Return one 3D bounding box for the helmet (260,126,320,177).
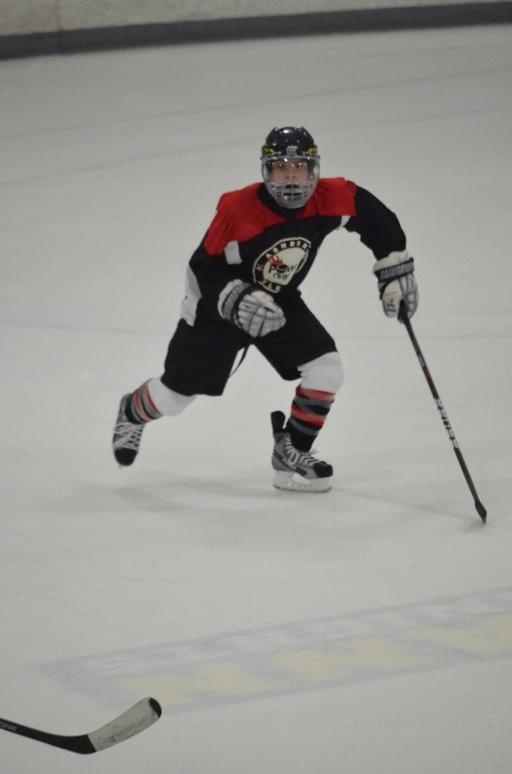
[{"bbox_3d":[0.096,-0.688,2.282,0.163,0.140,0.164,1,24,0],"label":"helmet"}]

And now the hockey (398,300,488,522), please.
[{"bbox_3d":[0.648,0.127,2.681,0.045,0.830,0.110,-17,-25,-10],"label":"hockey"}]
